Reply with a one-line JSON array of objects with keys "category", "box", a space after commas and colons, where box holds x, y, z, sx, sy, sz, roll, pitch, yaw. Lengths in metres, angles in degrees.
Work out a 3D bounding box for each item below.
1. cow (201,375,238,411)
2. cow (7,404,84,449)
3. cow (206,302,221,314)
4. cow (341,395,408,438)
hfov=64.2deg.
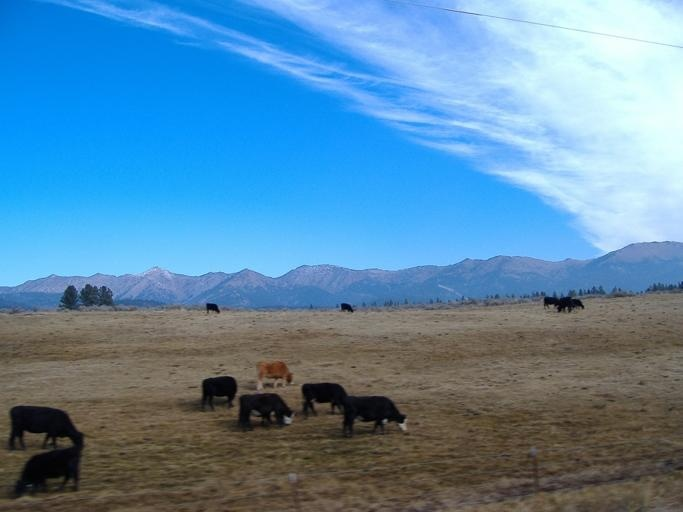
[{"category": "cow", "box": [-4.982, 5.450, 21.997, 1.329, 1.260, 1.304, -1, -2, -13]}, {"category": "cow", "box": [-9.263, 5.355, 17.039, 2.569, 1.465, 1.067, -1, -2, 11]}, {"category": "cow", "box": [-14.543, 5.976, 62.299, 1.836, 1.183, 1.895, 2, -10, -26]}, {"category": "cow", "box": [1.102, 5.557, 19.197, 2.143, 1.335, 0.881, -1, -2, -6]}]
